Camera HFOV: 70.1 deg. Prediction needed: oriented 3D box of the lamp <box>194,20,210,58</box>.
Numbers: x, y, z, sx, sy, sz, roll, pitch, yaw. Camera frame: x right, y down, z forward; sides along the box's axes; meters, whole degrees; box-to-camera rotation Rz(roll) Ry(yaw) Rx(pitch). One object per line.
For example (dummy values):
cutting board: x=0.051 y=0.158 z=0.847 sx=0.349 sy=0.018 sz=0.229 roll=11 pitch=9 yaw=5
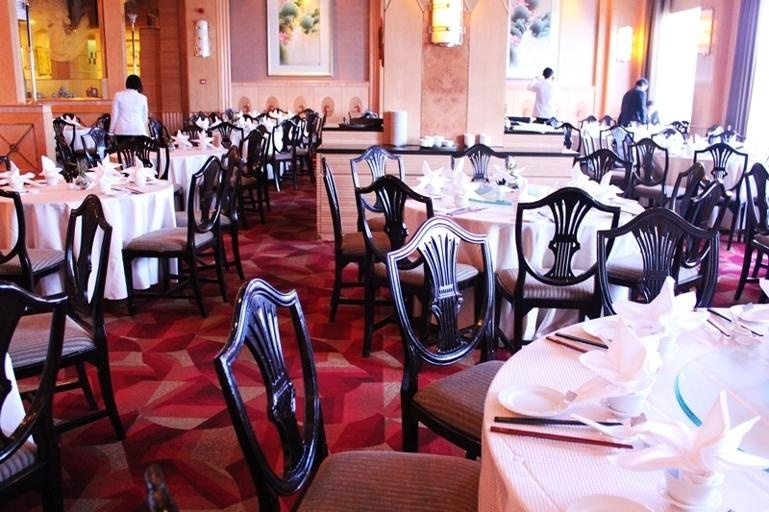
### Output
lamp: x=-3.551 y=-4.189 z=10.649 sx=0.283 sy=0.653 sz=0.067 roll=-4 pitch=14 yaw=-8

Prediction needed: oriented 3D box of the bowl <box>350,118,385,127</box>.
bowl: x=-0.187 y=-1.417 z=5.890 sx=0.230 sy=0.058 sz=0.240 roll=1 pitch=16 yaw=0
